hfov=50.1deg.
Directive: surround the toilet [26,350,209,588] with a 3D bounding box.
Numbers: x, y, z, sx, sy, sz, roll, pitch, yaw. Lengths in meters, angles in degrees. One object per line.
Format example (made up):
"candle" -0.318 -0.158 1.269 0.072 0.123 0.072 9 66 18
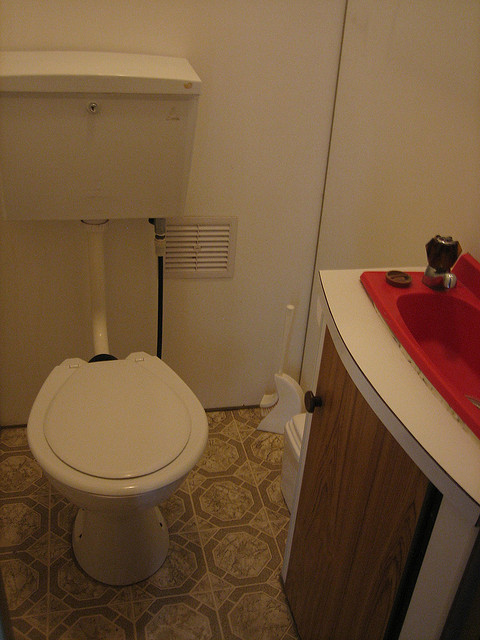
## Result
"toilet" -0.280 0.378 1.181 0.368 0.444 0.435 -2 23 -20
